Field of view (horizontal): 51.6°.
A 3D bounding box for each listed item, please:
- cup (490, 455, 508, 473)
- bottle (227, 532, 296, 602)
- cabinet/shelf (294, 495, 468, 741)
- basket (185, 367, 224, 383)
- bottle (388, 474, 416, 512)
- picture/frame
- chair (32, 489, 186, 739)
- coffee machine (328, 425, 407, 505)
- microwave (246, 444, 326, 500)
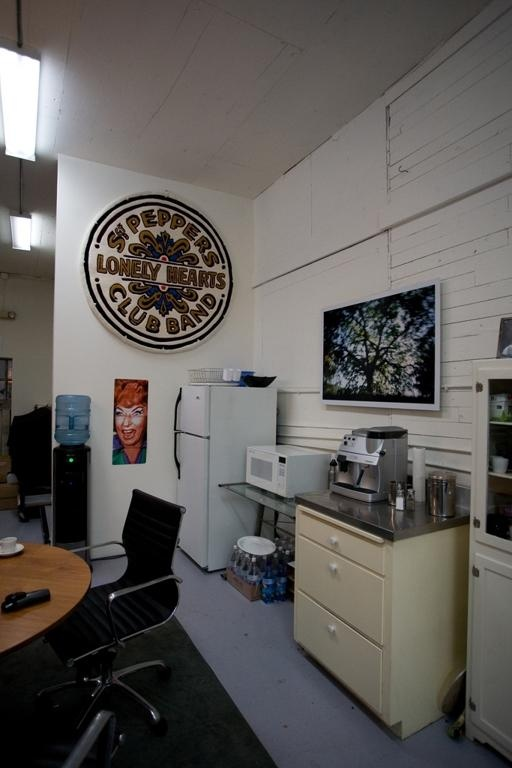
[{"bbox_3d":[0.893,0.308,1.949,0.037,0.044,0.058,2,-7,-3],"label":"cup"},{"bbox_3d":[0.039,1.157,3.295,0.324,0.269,0.325,5,1,-38],"label":"bottle"},{"bbox_3d":[0.563,0.865,2.587,0.648,1.209,0.944,4,-6,-19],"label":"cabinet/shelf"},{"bbox_3d":[-0.371,-0.056,4.125,0.279,0.118,0.503,0,2,-14],"label":"basket"},{"bbox_3d":[0.687,0.509,2.407,0.111,0.206,0.105,1,-1,0],"label":"bottle"},{"bbox_3d":[0.698,-0.201,2.895,0.017,0.548,0.758,5,-4,-24],"label":"picture/frame"},{"bbox_3d":[-0.635,0.904,2.467,0.702,1.092,0.737,3,-7,-35],"label":"chair"},{"bbox_3d":[0.590,0.406,2.622,0.299,0.421,0.414,6,-9,-24],"label":"coffee machine"},{"bbox_3d":[0.239,0.487,3.270,0.280,0.224,0.407,3,-5,-23],"label":"microwave"}]
